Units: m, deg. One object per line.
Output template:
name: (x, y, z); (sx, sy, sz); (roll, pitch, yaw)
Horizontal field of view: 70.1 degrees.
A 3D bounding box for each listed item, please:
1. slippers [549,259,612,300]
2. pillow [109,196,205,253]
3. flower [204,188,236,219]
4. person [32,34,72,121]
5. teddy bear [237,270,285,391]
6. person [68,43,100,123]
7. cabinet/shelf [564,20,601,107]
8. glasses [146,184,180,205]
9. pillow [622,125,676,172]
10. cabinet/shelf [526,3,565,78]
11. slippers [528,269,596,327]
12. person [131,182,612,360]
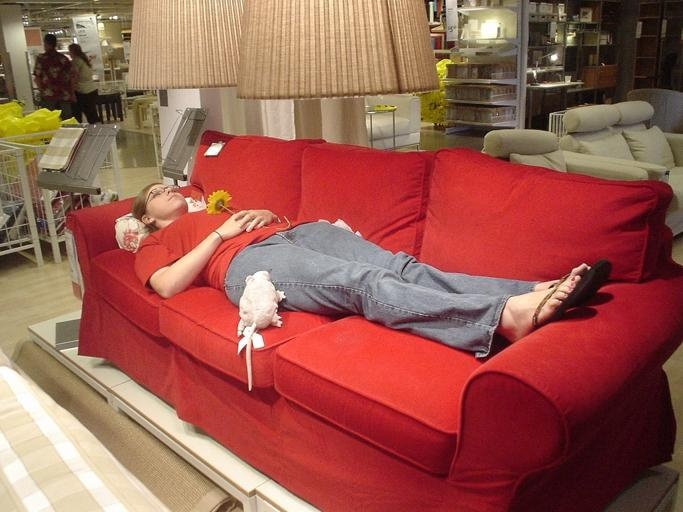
slippers: (0.750, 0.086, 1.466); (0.182, 0.137, 0.044); (-15, 23, -40)
pillow: (-0.959, -0.139, 2.710); (0.473, 0.158, 0.313); (-27, 45, 2)
flower: (-0.629, -0.265, 2.499); (0.154, 0.135, 0.054); (-23, 15, -28)
person: (-4.804, -2.987, 8.193); (0.816, 1.273, 0.540); (13, 23, 38)
teddy bear: (-0.266, 0.273, 1.830); (0.184, 0.412, 0.164); (-3, -24, 10)
person: (-4.959, -3.282, 9.301); (0.449, 1.397, 0.678); (-11, 21, -27)
cabinet/shelf: (4.119, -3.146, 7.942); (0.825, 1.295, 0.372); (4, 50, 20)
glasses: (-0.980, -0.349, 2.610); (0.130, 0.033, 0.129); (-21, -11, 34)
pillow: (2.857, -1.054, 4.728); (0.536, 0.436, 0.141); (-1, -21, -29)
cabinet/shelf: (3.025, -3.136, 7.126); (0.333, 1.115, 0.949); (14, 23, 38)
slippers: (0.678, 0.113, 1.489); (0.072, 0.260, 0.105); (44, 3, 17)
person: (-0.174, 0.025, 2.066); (1.881, 0.395, 0.690); (11, 25, 23)
